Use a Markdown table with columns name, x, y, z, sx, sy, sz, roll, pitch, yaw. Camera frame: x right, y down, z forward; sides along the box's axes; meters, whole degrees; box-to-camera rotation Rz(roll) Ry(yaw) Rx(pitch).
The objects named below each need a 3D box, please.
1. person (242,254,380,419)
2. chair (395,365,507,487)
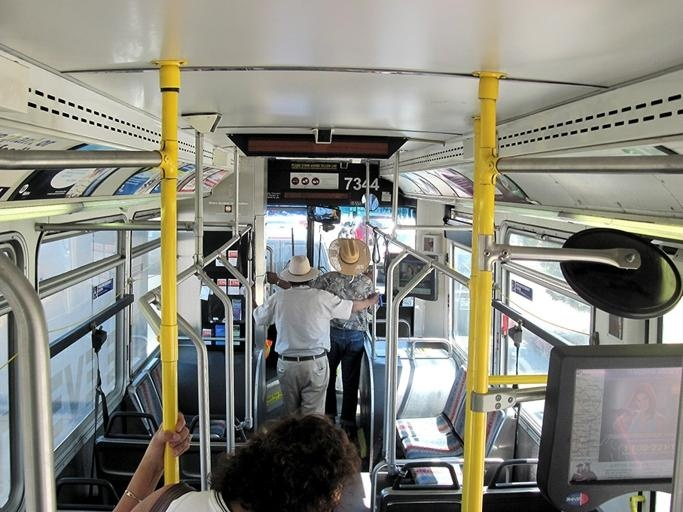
| name | x | y | z | sx | sy | sz | roll | pitch | yaw |
| --- | --- | --- | --- | --- | --- | --- | --- | --- | --- |
| person | -0.367 | 0.821 | 5.121 | 1.019 | 1.104 | 0.441 | 3 | 2 | 0 |
| chair | 0.969 | 1.790 | 5.226 | 0.685 | 0.786 | 1.518 | 0 | 0 | 0 |
